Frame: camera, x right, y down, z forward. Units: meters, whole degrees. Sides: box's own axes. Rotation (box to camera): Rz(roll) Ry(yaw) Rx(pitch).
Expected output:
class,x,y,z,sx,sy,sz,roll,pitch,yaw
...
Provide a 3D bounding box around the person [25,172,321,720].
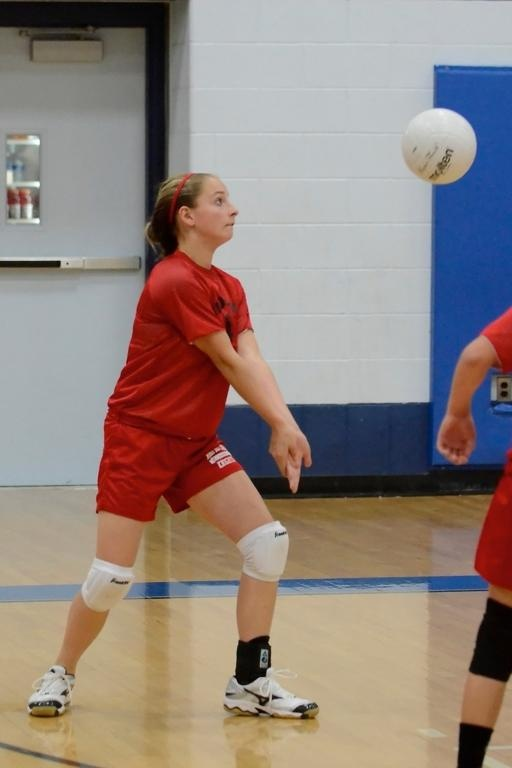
class,x,y,z,sx,sy,sz,roll,pitch,yaw
person,-0.197,0.151,2.202,0.720,1.274,0.363,-1,-2,8

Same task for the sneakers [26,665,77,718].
class,x,y,z,sx,sy,sz,roll,pitch,yaw
sneakers,-0.483,0.710,2.164,0.096,0.095,0.171,0,3,1

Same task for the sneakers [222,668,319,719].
class,x,y,z,sx,sy,sz,roll,pitch,yaw
sneakers,0.032,0.724,2.128,0.219,0.097,0.059,1,3,4
